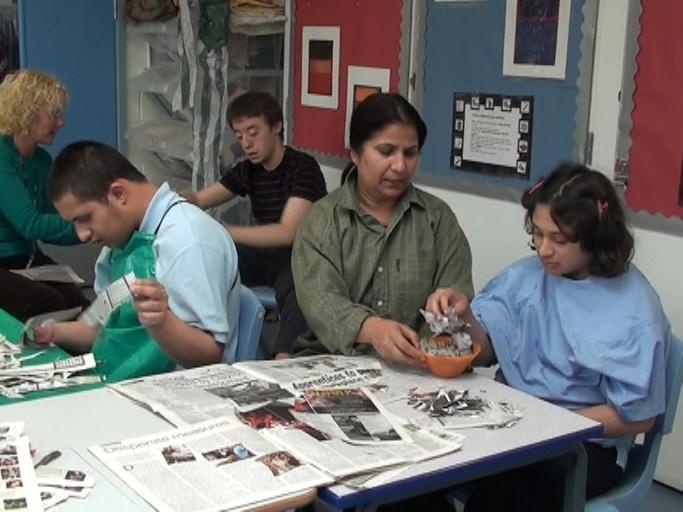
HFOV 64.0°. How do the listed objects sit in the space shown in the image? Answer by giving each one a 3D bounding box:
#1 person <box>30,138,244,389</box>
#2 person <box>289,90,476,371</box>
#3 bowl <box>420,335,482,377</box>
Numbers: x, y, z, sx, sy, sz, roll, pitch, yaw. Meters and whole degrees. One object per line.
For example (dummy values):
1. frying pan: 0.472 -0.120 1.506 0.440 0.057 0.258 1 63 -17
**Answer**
1. person: -0.659 -0.012 2.033 0.645 0.958 0.857 -5 10 -21
2. person: 0.155 -0.033 1.861 0.586 1.074 0.729 3 1 1
3. bowl: 0.307 0.306 1.603 0.124 0.055 0.132 1 9 0
